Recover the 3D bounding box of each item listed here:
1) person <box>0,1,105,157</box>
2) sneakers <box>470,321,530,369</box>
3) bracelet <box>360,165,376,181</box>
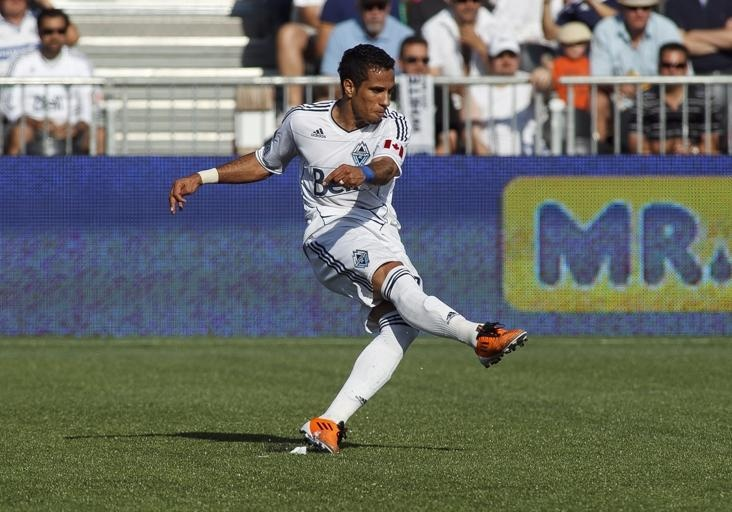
[{"bbox_3d":[-3.004,-1.643,17.791,0.999,1.305,1.262,1,5,-9],"label":"person"},{"bbox_3d":[0.976,0.579,13.274,0.175,0.272,0.498,-15,-10,-40],"label":"sneakers"},{"bbox_3d":[0.006,-0.591,13.353,0.096,0.110,0.239,3,5,10],"label":"bracelet"}]
